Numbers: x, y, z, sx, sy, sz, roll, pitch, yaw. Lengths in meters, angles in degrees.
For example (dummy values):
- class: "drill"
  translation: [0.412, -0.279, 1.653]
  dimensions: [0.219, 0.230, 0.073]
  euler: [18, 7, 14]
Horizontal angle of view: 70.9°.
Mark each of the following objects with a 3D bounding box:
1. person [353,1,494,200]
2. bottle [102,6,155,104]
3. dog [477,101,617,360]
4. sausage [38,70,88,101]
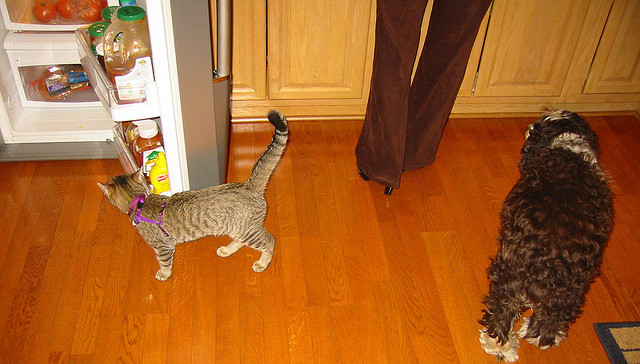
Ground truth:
- class: "person"
  translation: [0.664, -0.632, 3.366]
  dimensions: [0.628, 1.455, 0.798]
  euler: [23, 45, 22]
- class: "bottle"
  translation: [-1.181, -0.783, 2.797]
  dimensions: [0.303, 0.533, 0.316]
  euler: [3, 61, -5]
- class: "dog"
  translation: [1.487, 0.383, 2.951]
  dimensions: [0.569, 0.928, 1.733]
  euler: [9, 73, 35]
- class: "sausage"
  translation: [-2.116, -0.802, 3.721]
  dimensions: [0.344, 0.173, 0.047]
  euler: [-19, 9, -13]
